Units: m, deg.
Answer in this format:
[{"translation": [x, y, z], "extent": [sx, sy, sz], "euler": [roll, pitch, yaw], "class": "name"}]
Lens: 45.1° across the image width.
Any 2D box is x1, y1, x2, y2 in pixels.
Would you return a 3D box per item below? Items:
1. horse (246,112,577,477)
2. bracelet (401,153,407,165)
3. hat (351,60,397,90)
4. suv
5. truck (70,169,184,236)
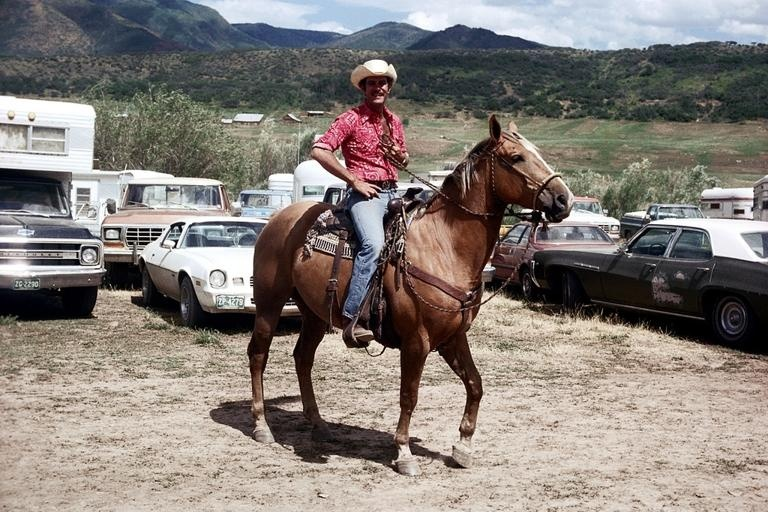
[{"translation": [0.197, 0.572, 12.853], "extent": [5.020, 4.595, 1.731], "euler": [1, 2, 31], "class": "horse"}, {"translation": [0.283, -1.291, 12.474], "extent": [0.057, 0.095, 0.129], "euler": [0, 52, 20], "class": "bracelet"}, {"translation": [-0.152, -2.402, 12.348], "extent": [0.589, 0.363, 0.351], "euler": [1, 15, 0], "class": "hat"}, {"translation": [-4.611, -0.460, 19.648], "extent": [2.351, 1.713, 4.030], "euler": [0, 1, -13], "class": "suv"}, {"translation": [-6.481, -1.292, 21.844], "extent": [1.595, 1.422, 2.391], "euler": [-2, 3, -42], "class": "truck"}]
